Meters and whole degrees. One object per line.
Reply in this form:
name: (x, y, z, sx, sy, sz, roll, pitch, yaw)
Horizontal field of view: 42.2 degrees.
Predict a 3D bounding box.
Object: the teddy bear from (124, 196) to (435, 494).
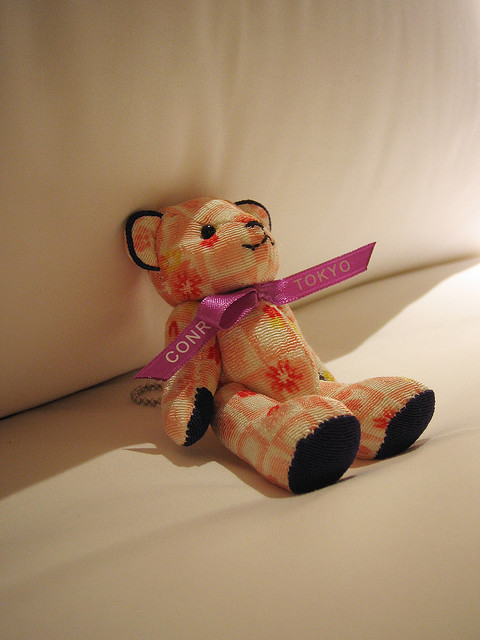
teddy bear: (0.042, 0.006, 0.697, 0.328, 0.257, 0.298, 13, 18, 41)
